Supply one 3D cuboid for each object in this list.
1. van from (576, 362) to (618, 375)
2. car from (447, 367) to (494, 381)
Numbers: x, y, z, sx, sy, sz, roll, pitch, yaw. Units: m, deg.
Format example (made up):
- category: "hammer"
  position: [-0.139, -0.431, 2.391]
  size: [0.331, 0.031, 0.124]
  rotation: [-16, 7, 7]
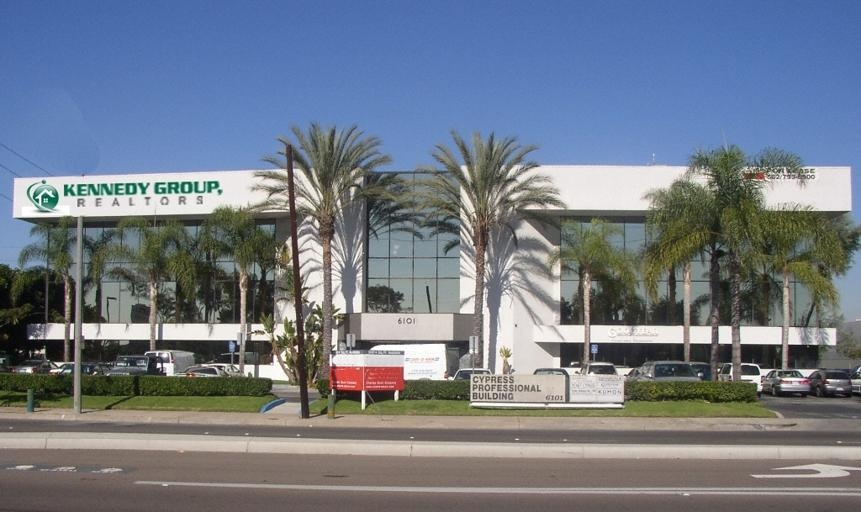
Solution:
- category: "van"
  position: [11.497, 7.838, 74.718]
  size: [2.233, 1.101, 1.387]
  rotation: [2, -1, 41]
- category: "car"
  position: [2.765, 7.755, 71.076]
  size: [2.011, 0.992, 1.332]
  rotation: [3, -7, -3]
